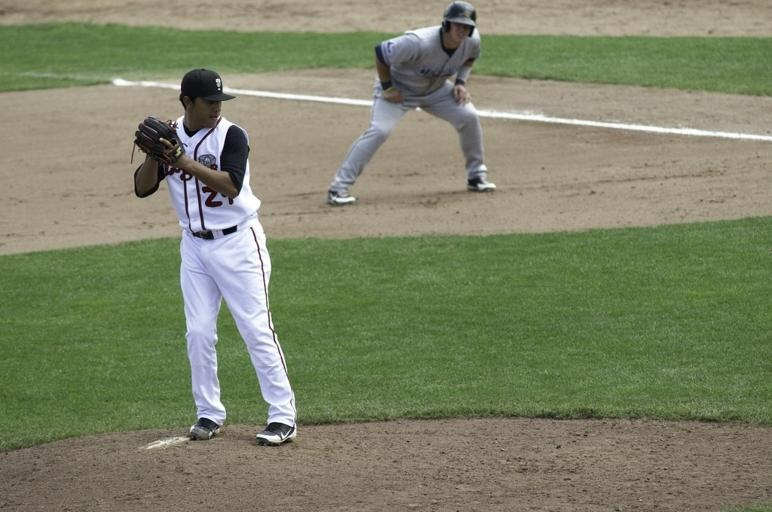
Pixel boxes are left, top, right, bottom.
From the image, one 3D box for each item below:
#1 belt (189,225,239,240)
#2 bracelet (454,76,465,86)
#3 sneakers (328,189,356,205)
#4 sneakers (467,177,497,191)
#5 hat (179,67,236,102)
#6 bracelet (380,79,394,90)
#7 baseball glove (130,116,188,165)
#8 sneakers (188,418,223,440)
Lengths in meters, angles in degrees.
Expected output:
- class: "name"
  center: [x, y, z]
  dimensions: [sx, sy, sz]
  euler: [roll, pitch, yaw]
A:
- class: "belt"
  center: [-2.081, -0.285, 19.718]
  dimensions: [0.541, 0.163, 0.083]
  euler: [-1, 11, -2]
- class: "bracelet"
  center: [1.072, -2.657, 24.505]
  dimensions: [0.147, 0.091, 0.133]
  euler: [3, 2, -1]
- class: "sneakers"
  center: [-0.696, -0.902, 24.739]
  dimensions: [0.384, 0.160, 0.202]
  euler: [2, 17, 15]
- class: "sneakers"
  center: [1.436, -1.106, 24.912]
  dimensions: [0.472, 0.186, 0.188]
  euler: [2, 10, 29]
- class: "hat"
  center: [-2.169, -2.094, 19.648]
  dimensions: [0.601, 0.279, 0.383]
  euler: [5, 20, 4]
- class: "bracelet"
  center: [-0.013, -2.587, 24.321]
  dimensions: [0.164, 0.138, 0.106]
  euler: [-2, 11, -5]
- class: "baseball glove"
  center: [-2.766, -1.374, 19.714]
  dimensions: [0.657, 0.466, 0.289]
  euler: [34, -15, 10]
- class: "sneakers"
  center: [-2.272, 2.132, 19.761]
  dimensions: [0.490, 0.177, 0.188]
  euler: [11, 31, -33]
